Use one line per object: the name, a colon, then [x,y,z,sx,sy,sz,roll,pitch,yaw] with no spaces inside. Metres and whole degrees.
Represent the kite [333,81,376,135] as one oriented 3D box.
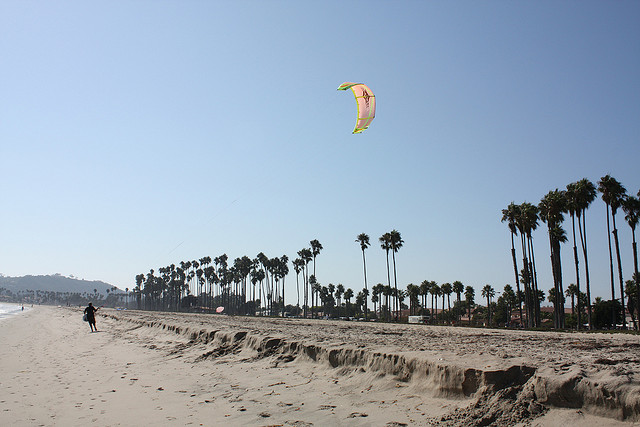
kite: [2.337,-7.821,30.616,2.594,1.297,2.748,19,14,-8]
